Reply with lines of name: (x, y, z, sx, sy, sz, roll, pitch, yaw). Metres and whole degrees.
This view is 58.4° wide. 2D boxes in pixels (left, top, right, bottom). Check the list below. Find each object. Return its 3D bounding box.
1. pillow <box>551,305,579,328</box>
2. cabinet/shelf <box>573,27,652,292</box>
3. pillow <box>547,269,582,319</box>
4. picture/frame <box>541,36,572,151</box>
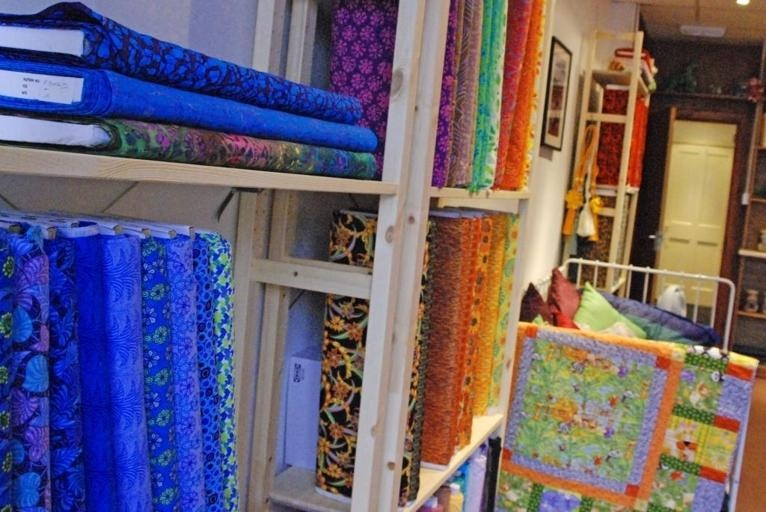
pillow: (0.762, 0.282, 2.944, 0.042, 0.120, 0.106, -33, -12, 23)
cabinet/shelf: (1.420, -0.650, 4.292, 0.428, 1.421, 0.949, 6, 3, 21)
pillow: (0.916, 0.200, 3.490, 0.128, 0.060, 0.209, 45, 35, -8)
picture/frame: (0.888, -0.792, 3.513, 0.018, 0.519, 0.511, 9, 11, 23)
